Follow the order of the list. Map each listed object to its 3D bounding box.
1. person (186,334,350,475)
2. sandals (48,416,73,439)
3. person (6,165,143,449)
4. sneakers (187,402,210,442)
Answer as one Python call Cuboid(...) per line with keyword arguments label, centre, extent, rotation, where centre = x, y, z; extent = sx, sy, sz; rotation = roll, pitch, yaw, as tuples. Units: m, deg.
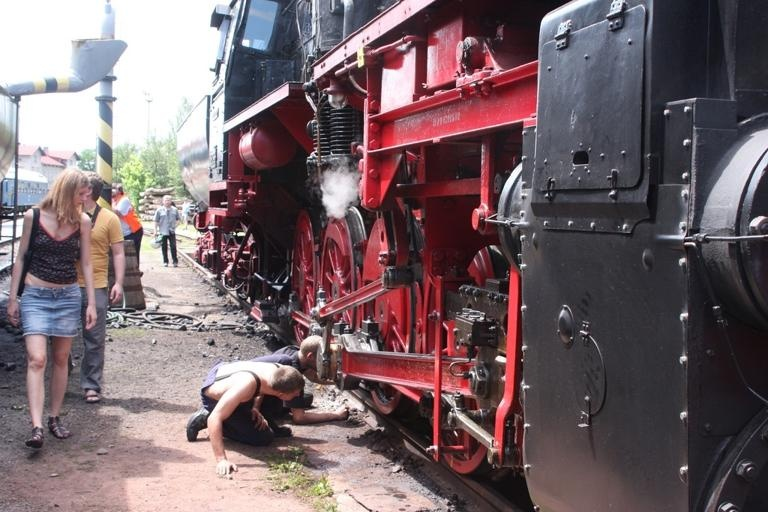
Cuboid(label="person", centre=(-1.235, 1.298, 5.349), extent=(0.880, 0.859, 1.372), rotation=(7, 11, 11))
Cuboid(label="sandals", centre=(-2.950, 1.542, 5.245), extent=(0.119, 0.186, 0.357), rotation=(2, -2, -34))
Cuboid(label="person", centre=(-3.022, 0.420, 5.298), extent=(0.602, 2.450, 1.348), rotation=(1, 5, -14))
Cuboid(label="sneakers", centre=(-1.770, 1.596, 5.492), extent=(0.143, 0.347, 0.124), rotation=(1, -30, 24))
